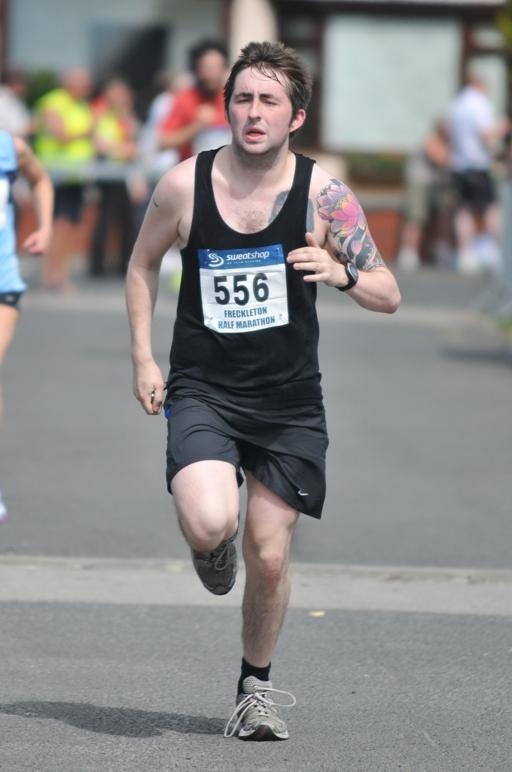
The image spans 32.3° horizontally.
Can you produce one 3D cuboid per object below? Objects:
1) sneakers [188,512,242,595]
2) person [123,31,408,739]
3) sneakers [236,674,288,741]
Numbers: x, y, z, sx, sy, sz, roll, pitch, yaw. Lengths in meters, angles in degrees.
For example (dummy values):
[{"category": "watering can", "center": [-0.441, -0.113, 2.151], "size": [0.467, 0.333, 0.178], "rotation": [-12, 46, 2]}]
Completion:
[{"category": "sneakers", "center": [-0.082, 0.397, 1.970], "size": [0.080, 0.207, 0.093], "rotation": [-10, 15, -10]}, {"category": "person", "center": [0.015, -0.004, 1.996], "size": [0.591, 1.506, 0.524], "rotation": [0, 12, -7]}, {"category": "sneakers", "center": [0.016, 0.715, 1.957], "size": [0.114, 0.084, 0.148], "rotation": [1, 11, -1]}]
